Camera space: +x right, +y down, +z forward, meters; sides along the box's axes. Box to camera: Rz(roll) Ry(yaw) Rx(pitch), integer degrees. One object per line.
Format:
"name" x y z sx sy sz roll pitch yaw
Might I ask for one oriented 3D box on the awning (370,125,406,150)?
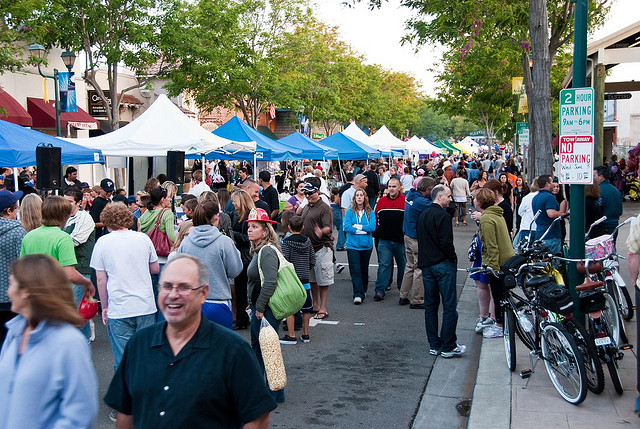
"awning" 3.504 -3.786 31.287 1.449 0.716 1.465 0 3 -3

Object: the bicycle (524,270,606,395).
"bicycle" 3.155 1.525 7.766 0.575 1.412 1.009 -7 11 -25

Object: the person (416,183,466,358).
"person" 1.797 0.879 9.192 0.545 2.532 0.671 -10 13 -39

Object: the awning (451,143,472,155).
"awning" 15.604 -7.387 67.260 1.904 1.106 1.873 1 7 -33

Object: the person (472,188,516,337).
"person" 2.736 0.844 9.545 0.582 2.377 1.380 0 10 9

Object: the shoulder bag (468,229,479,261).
"shoulder bag" 2.550 0.487 10.144 0.133 0.553 0.707 1 10 14

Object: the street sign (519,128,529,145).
"street sign" 7.835 -2.954 23.595 0.299 0.611 0.663 0 10 12

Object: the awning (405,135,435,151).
"awning" 5.836 -4.211 37.812 1.730 0.773 1.704 -1 0 -40

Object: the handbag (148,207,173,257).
"handbag" -2.584 0.275 9.826 0.270 0.697 0.525 -27 37 -33

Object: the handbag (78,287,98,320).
"handbag" -3.043 1.224 8.016 0.225 0.316 0.192 12 2 18

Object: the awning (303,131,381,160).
"awning" 0.920 -3.005 26.391 3.517 1.244 3.471 6 9 27
